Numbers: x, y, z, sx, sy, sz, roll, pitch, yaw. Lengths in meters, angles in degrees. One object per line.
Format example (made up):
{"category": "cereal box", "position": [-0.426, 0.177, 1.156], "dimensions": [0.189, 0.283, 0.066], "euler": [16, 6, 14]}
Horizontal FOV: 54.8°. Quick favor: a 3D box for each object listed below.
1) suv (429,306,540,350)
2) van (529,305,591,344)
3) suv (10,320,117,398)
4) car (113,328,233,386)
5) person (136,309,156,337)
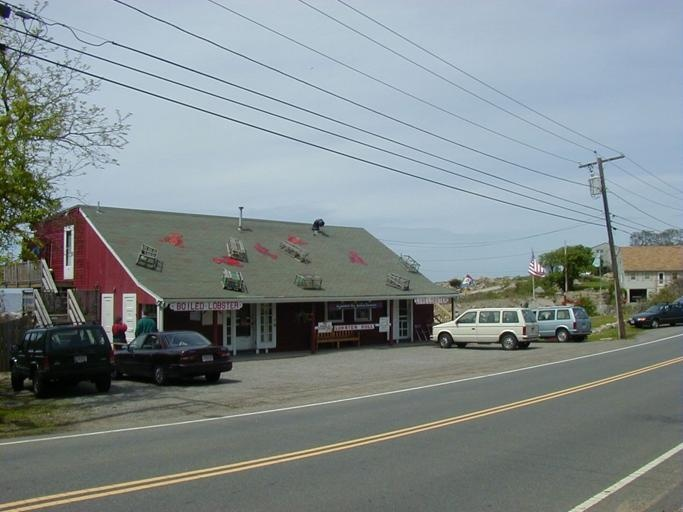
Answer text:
{"category": "suv", "position": [7.153, 3.501, 31.842], "dimensions": [4.233, 1.525, 2.123], "euler": [0, -3, 31]}
{"category": "van", "position": [11.309, 3.627, 35.376], "dimensions": [3.526, 1.599, 1.896], "euler": [1, -1, 36]}
{"category": "suv", "position": [-8.409, 2.879, 19.286], "dimensions": [1.762, 1.237, 2.903], "euler": [4, -4, -38]}
{"category": "car", "position": [-5.361, 3.133, 20.594], "dimensions": [3.175, 1.656, 1.444], "euler": [-2, -1, 30]}
{"category": "person", "position": [-7.090, 2.439, 23.812], "dimensions": [0.763, 0.881, 0.362], "euler": [-3, 5, -44]}
